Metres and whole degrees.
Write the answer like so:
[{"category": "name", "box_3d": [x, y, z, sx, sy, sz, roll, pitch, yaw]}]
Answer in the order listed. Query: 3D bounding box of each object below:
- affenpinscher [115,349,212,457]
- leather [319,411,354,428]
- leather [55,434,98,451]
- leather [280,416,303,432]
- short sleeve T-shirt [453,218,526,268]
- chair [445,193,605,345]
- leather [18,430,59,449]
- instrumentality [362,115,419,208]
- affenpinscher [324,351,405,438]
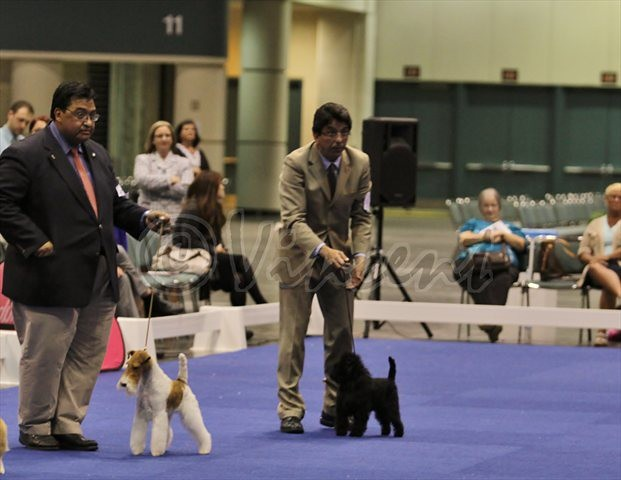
[{"category": "affenpinscher", "box_3d": [-0.824, 0.872, 4.808, 0.310, 0.574, 0.585, -10, -17, 29]}, {"category": "leather", "box_3d": [0.155, 1.078, 5.395, 0.205, 0.113, 0.083, -3, -2, 26]}, {"category": "leather", "box_3d": [-1.280, 1.104, 4.904, 0.234, 0.110, 0.089, 2, -1, -3]}, {"category": "leather", "box_3d": [-0.110, 1.093, 5.281, 0.139, 0.110, 0.096, 1, 5, 1]}, {"category": "short sleeve T-shirt", "box_3d": [1.608, 0.033, 7.994, 0.612, 0.416, 0.315, 2, 5, 9]}, {"category": "chair", "box_3d": [1.720, 0.229, 8.479, 1.061, 1.657, 1.456, 2, -6, -22]}, {"category": "leather", "box_3d": [-1.454, 1.071, 4.793, 0.202, 0.100, 0.087, 0, 0, 15]}, {"category": "instrumentality", "box_3d": [0.927, -0.711, 8.572, 0.448, 0.886, 0.461, -1, -5, 37]}, {"category": "affenpinscher", "box_3d": [0.319, 0.892, 5.174, 0.415, 0.492, 0.247, 4, -3, -20]}]
